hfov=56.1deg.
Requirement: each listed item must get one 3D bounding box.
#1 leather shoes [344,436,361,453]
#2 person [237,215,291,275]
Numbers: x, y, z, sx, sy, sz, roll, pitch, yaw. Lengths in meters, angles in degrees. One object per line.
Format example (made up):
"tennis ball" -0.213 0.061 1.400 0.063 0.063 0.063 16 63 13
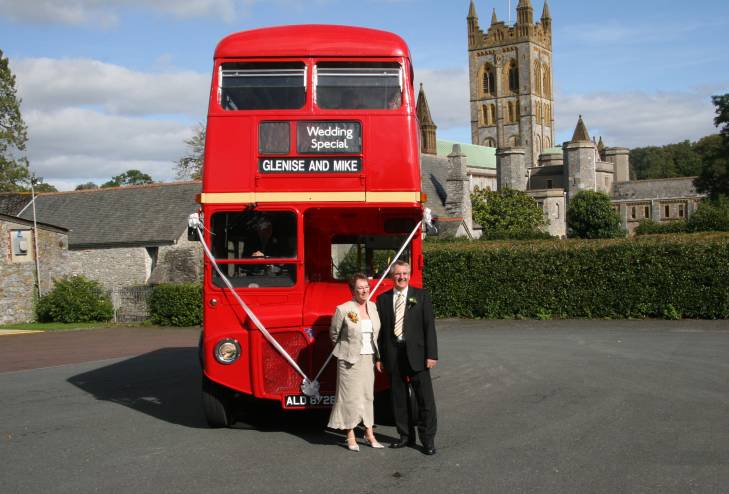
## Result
"leather shoes" -0.222 3.171 11.046 0.123 0.144 0.326 -15 1 -31
"person" -1.704 -0.028 12.079 1.011 0.992 0.242 -1 -1 4
